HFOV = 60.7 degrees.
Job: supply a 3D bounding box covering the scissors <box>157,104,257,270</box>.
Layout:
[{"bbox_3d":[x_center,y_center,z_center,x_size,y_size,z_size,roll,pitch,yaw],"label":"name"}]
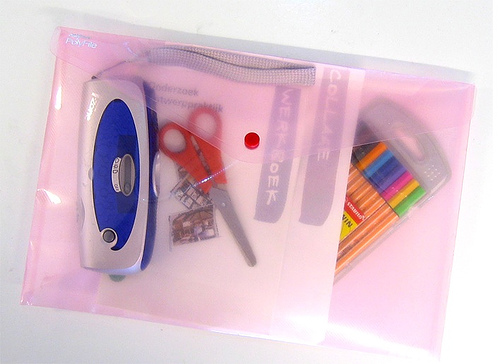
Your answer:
[{"bbox_3d":[-0.045,-0.006,0.593,0.105,0.235,0.019,-29,7,11],"label":"scissors"}]
